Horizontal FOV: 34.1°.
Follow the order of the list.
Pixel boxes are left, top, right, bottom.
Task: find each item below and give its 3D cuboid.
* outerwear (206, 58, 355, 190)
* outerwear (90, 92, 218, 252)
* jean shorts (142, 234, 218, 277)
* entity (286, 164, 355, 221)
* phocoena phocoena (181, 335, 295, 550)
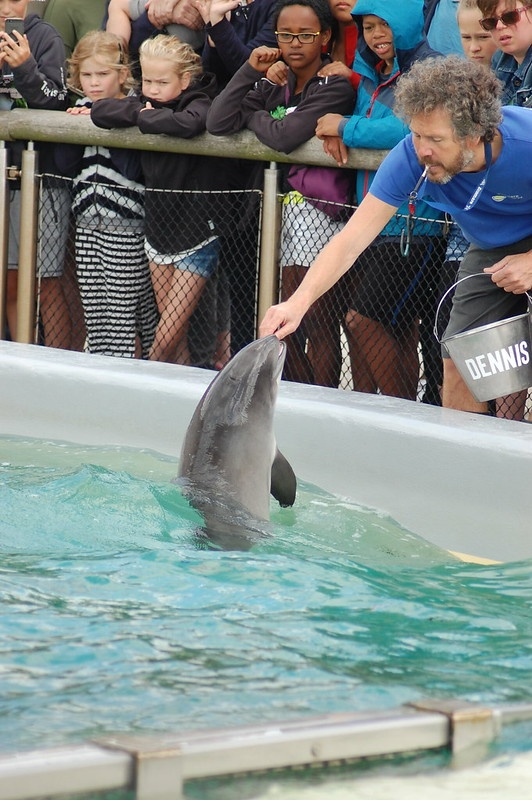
[{"bbox_3d":[0.049,-1.249,3.794,0.452,0.271,0.589,5,18,42],"label":"outerwear"},{"bbox_3d":[-0.487,-1.081,4.087,0.688,0.791,0.219,9,8,25],"label":"outerwear"},{"bbox_3d":[-0.404,-0.695,4.102,0.264,0.189,0.190,-14,24,-17],"label":"jean shorts"},{"bbox_3d":[0.247,-0.893,3.744,0.277,0.237,0.097,13,19,21],"label":"entity"},{"bbox_3d":[-0.045,0.116,2.220,0.266,0.550,0.195,31,-27,-23],"label":"phocoena phocoena"}]
